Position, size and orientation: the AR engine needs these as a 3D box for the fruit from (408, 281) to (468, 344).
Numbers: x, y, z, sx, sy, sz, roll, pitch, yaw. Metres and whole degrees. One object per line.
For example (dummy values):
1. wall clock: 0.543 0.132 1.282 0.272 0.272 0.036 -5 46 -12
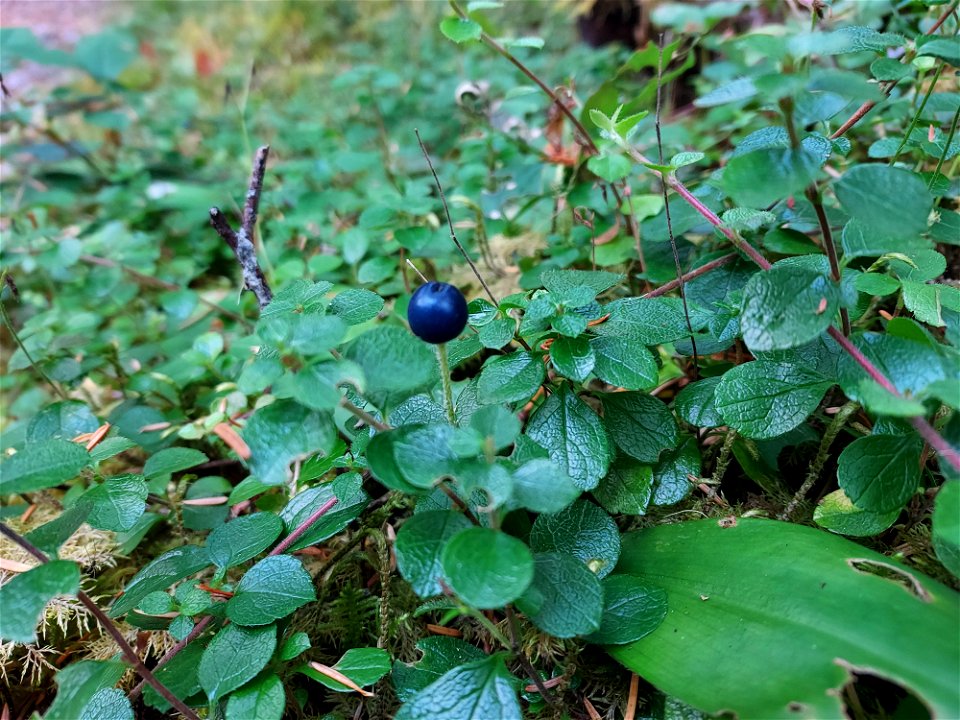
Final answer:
1. fruit: -0.069 -0.084 1.312 0.109 0.103 0.116 2 57 -2
